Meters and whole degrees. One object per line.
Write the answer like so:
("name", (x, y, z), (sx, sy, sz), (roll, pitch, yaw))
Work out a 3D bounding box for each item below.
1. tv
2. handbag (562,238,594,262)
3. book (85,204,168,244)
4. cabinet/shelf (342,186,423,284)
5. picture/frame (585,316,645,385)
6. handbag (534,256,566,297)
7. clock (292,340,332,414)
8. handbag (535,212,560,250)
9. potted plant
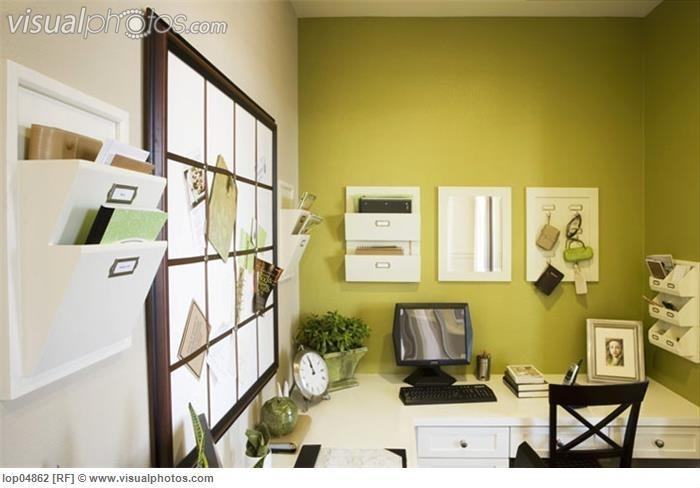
("tv", (0.451, 0.540, 2.814), (0.390, 0.379, 0.191), (1, -16, 0))
("handbag", (1.270, 0.026, 2.890), (0.123, 0.110, 0.048), (-1, -9, 0))
("book", (-0.590, -0.046, 1.350), (0.036, 0.104, 0.156), (29, 15, 28))
("cabinet/shelf", (0.224, -0.010, 3.025), (0.412, 0.530, 0.314), (-2, -17, 18))
("picture/frame", (1.423, 0.582, 2.778), (0.322, 0.415, 0.043), (0, -12, 10))
("handbag", (1.108, 0.204, 2.887), (0.157, 0.160, 0.051), (38, -2, -9))
("clock", (-0.216, 0.641, 2.552), (0.186, 0.295, 0.232), (-8, -8, 31))
("handbag", (1.126, -0.078, 2.945), (0.122, 0.213, 0.066), (27, 8, 3))
("potted plant", (-0.100, 0.601, 2.806), (0.316, 0.331, 0.272), (0, 2, -44))
